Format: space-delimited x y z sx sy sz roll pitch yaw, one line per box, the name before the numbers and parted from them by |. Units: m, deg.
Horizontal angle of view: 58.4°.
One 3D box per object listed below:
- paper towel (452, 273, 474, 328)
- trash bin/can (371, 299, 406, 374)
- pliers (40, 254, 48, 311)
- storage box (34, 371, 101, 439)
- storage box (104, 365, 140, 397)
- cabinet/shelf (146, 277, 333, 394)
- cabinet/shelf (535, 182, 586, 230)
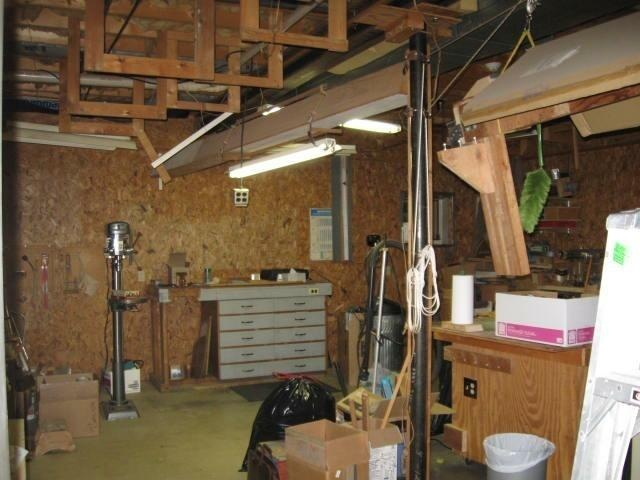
paper towel | 1.141 0.490 4.573 0.170 0.403 0.228 -1 -1 10
trash bin/can | 0.774 1.118 6.387 0.350 0.894 1.667 -1 -2 8
pliers | -3.475 0.531 7.237 0.100 0.669 0.057 0 -1 -25
storage box | -2.552 1.662 5.866 0.697 0.694 0.524 0 -4 -21
storage box | -2.405 1.745 7.018 0.379 0.387 0.293 -10 -22 30
cabinet/shelf | -1.063 1.243 7.739 2.348 1.319 0.968 0 -2 -15
cabinet/shelf | 3.124 -0.424 7.324 0.286 0.786 0.824 1 -2 -24
